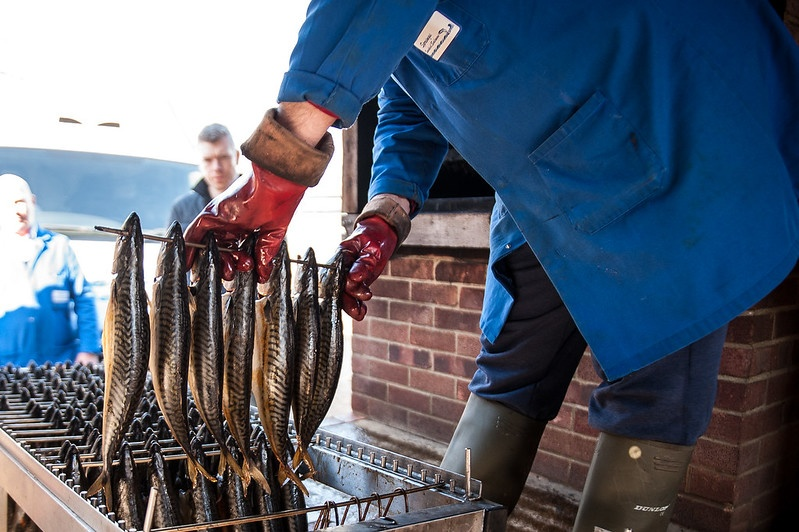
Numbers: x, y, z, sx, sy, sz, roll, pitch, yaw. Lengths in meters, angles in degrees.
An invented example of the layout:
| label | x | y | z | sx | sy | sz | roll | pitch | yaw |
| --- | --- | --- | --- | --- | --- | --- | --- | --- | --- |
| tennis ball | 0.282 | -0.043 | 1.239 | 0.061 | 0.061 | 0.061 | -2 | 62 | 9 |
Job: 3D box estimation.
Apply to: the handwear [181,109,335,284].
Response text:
| label | x | y | z | sx | sy | sz | roll | pitch | yaw |
| --- | --- | --- | --- | --- | --- | --- | --- | --- | --- |
| handwear | -0.545 | -0.281 | 3.322 | 0.734 | 0.479 | 0.229 | -44 | 7 | 18 |

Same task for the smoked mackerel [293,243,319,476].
| label | x | y | z | sx | sy | sz | roll | pitch | yaw |
| --- | --- | --- | --- | --- | --- | --- | --- | --- | --- |
| smoked mackerel | -0.361 | 0.354 | 3.274 | 0.120 | 0.860 | 0.175 | 3 | -2 | -9 |

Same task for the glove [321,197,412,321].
| label | x | y | z | sx | sy | sz | roll | pitch | yaw |
| --- | --- | --- | --- | --- | --- | --- | --- | --- | --- |
| glove | -0.125 | -0.086 | 3.625 | 0.288 | 0.548 | 0.204 | 36 | -38 | -9 |
